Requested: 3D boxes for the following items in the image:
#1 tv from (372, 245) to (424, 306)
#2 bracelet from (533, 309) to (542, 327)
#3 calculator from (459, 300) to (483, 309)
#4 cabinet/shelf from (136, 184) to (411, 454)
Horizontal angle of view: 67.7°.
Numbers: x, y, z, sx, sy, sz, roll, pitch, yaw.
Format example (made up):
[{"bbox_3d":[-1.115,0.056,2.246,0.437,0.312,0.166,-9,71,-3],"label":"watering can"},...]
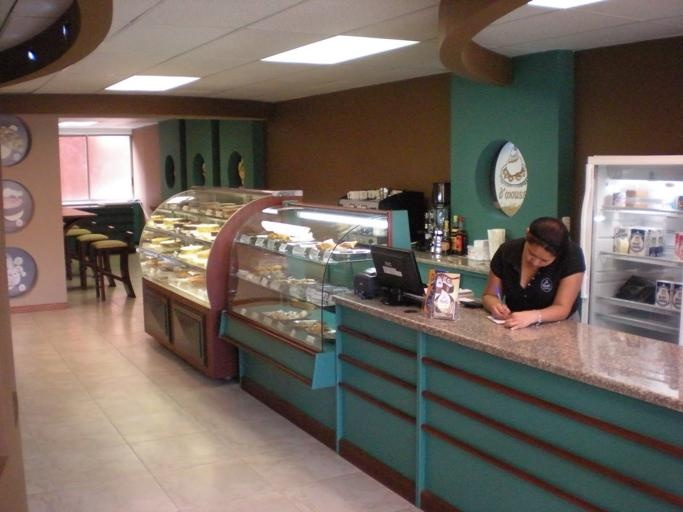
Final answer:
[{"bbox_3d":[0.425,0.119,3.494,0.256,0.416,0.456,-18,18,-33],"label":"tv"},{"bbox_3d":[1.154,0.371,2.985,0.029,0.075,0.056,8,-7,-29],"label":"bracelet"},{"bbox_3d":[0.861,0.314,3.378,0.143,0.042,0.057,1,10,10],"label":"calculator"},{"bbox_3d":[-0.901,0.354,4.832,0.711,1.896,2.968,-11,14,-43],"label":"cabinet/shelf"}]
